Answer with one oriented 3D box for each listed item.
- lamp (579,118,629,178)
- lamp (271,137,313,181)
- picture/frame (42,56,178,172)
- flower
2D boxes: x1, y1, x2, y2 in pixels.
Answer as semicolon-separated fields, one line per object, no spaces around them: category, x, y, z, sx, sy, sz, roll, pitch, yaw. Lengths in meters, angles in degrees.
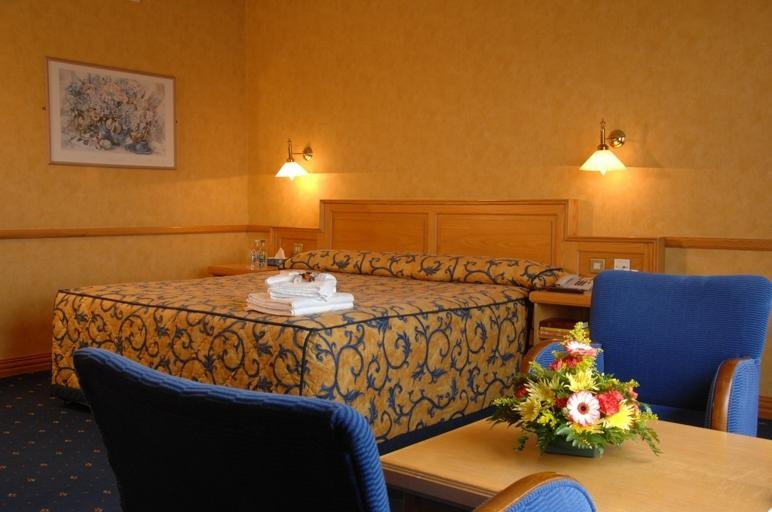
lamp;1.652;-0.829;4.167;0.307;0.374;0.324;-4;14;-12
lamp;-0.970;-0.998;5.655;0.374;0.388;0.337;-5;6;-22
picture/frame;-2.625;-1.324;5.067;0.048;0.917;1.209;0;0;42
flower;0.590;0.446;1.766;0.404;0.304;0.424;12;8;-18
